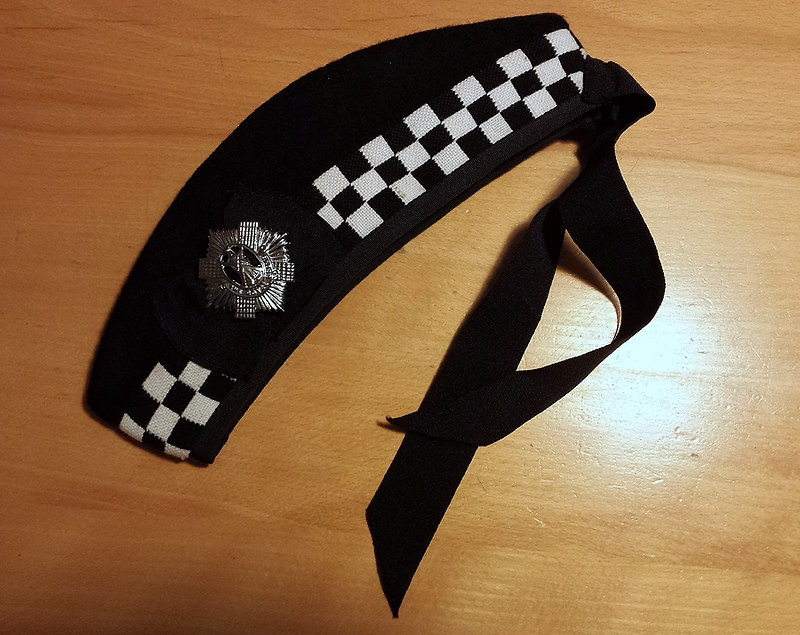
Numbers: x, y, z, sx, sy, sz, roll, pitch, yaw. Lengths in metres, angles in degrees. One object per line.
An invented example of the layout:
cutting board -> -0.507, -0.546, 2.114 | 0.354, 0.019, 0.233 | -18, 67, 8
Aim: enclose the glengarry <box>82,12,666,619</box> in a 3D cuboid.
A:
glengarry -> -0.006, -0.053, 1.258 | 0.651, 0.129, 0.882 | 38, 89, 8
